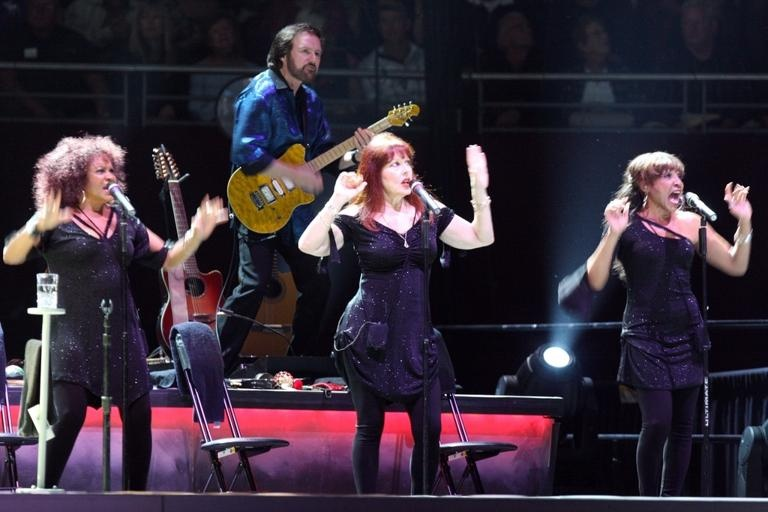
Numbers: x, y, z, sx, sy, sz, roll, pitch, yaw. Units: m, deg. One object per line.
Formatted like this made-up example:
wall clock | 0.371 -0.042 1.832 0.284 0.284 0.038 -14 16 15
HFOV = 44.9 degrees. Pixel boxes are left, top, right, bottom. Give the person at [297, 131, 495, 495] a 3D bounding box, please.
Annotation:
person | 0.060 0.369 5.356 1.081 2.139 0.602 -1 4 -5

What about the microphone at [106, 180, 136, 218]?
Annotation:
microphone | -1.624 -0.331 5.630 0.111 0.147 0.406 -22 36 -15

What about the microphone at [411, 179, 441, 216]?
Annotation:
microphone | 0.242 -0.316 5.351 0.093 0.089 0.290 -25 53 -18

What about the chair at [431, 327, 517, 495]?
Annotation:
chair | 0.564 1.088 5.986 0.546 1.090 0.555 0 -11 14

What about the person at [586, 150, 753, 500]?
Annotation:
person | 1.794 0.428 5.942 0.927 2.155 0.608 -2 4 -29

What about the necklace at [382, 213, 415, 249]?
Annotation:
necklace | 0.078 -0.133 5.422 0.152 0.197 0.041 -18 -5 -29

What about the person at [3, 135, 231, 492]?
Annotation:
person | -1.705 0.349 5.642 1.133 2.100 0.673 -1 4 -12
